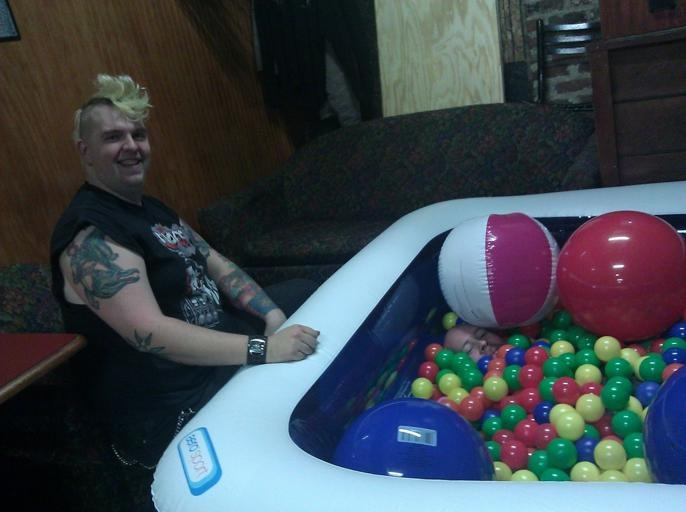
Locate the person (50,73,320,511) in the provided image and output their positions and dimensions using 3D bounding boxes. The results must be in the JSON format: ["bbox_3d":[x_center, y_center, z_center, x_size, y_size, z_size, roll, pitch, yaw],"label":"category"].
[{"bbox_3d":[-0.461,0.035,1.660,0.679,1.208,0.636,-5,18,10],"label":"person"}]

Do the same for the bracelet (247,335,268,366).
[{"bbox_3d":[-0.228,0.253,1.404,0.047,0.079,0.073,2,-13,-7],"label":"bracelet"}]
